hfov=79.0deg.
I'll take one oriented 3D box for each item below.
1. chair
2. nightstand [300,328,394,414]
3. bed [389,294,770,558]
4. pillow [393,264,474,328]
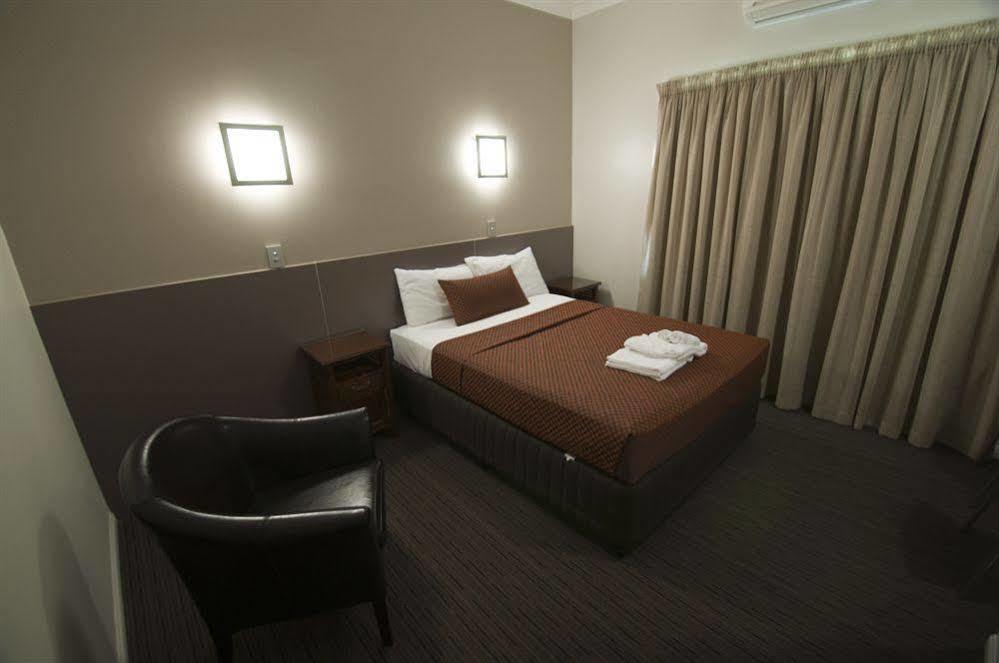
[{"bbox_3d":[-1.358,1.194,4.141,1.539,1.776,1.426,-6,28,-17],"label":"chair"},{"bbox_3d":[-1.247,0.451,5.088,0.690,0.783,0.692,-5,24,-5],"label":"nightstand"},{"bbox_3d":[0.807,0.477,5.082,2.173,0.814,2.283,17,25,39],"label":"bed"},{"bbox_3d":[-0.654,-0.315,5.372,0.647,0.470,0.185,-13,2,-40],"label":"pillow"}]
